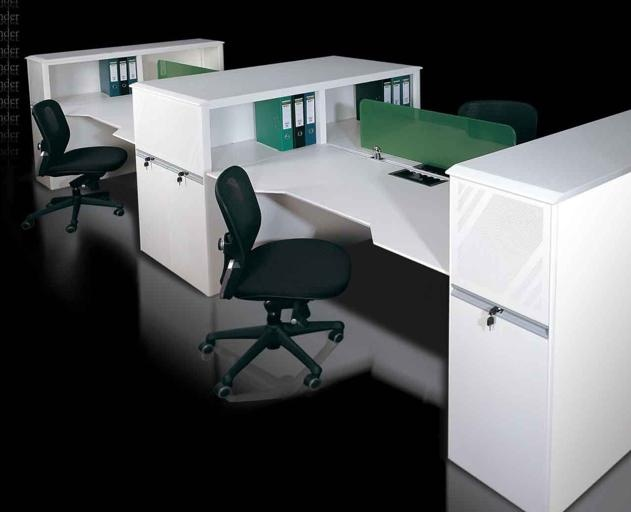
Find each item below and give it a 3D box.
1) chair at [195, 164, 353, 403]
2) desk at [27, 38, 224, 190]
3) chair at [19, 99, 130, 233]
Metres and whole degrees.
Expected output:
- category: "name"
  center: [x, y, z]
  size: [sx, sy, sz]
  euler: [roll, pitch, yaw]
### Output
- category: "chair"
  center: [-0.253, 0.059, 3.071]
  size: [0.799, 1.091, 0.841]
  euler: [-1, 25, -3]
- category: "desk"
  center: [-1.693, -1.194, 4.826]
  size: [1.443, 1.014, 0.909]
  euler: [-23, 37, -37]
- category: "chair"
  center: [-2.115, -0.819, 4.893]
  size: [0.789, 1.005, 0.814]
  euler: [-1, 22, -14]
